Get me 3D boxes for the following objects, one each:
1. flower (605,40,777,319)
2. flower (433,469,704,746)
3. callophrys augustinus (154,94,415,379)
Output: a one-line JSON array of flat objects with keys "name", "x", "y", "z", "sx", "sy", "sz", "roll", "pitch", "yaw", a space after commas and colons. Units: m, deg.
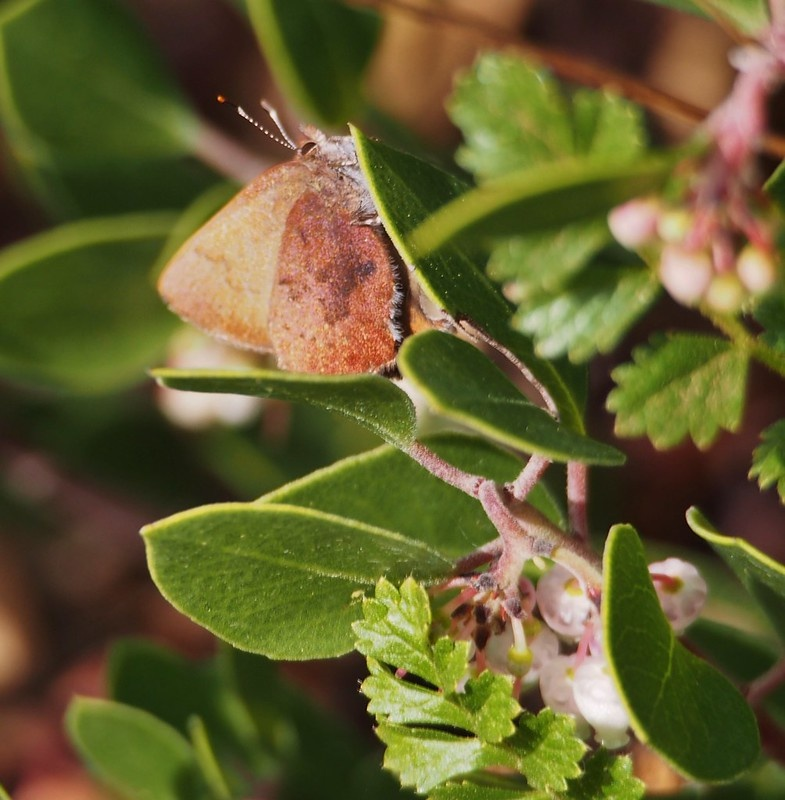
[{"name": "flower", "x": 0.266, "y": -0.169, "z": 0.853, "sx": 0.183, "sy": 0.137, "sz": 0.119, "roll": -33, "pitch": 49, "yaw": -27}, {"name": "flower", "x": 0.162, "y": 0.186, "z": 0.987, "sx": 0.191, "sy": 0.256, "sz": 0.222, "roll": 28, "pitch": 51, "yaw": 31}, {"name": "callophrys augustinus", "x": -0.111, "y": -0.170, "z": 1.148, "sx": 0.244, "sy": 0.283, "sz": 0.178, "roll": 6, "pitch": 11, "yaw": 21}]
